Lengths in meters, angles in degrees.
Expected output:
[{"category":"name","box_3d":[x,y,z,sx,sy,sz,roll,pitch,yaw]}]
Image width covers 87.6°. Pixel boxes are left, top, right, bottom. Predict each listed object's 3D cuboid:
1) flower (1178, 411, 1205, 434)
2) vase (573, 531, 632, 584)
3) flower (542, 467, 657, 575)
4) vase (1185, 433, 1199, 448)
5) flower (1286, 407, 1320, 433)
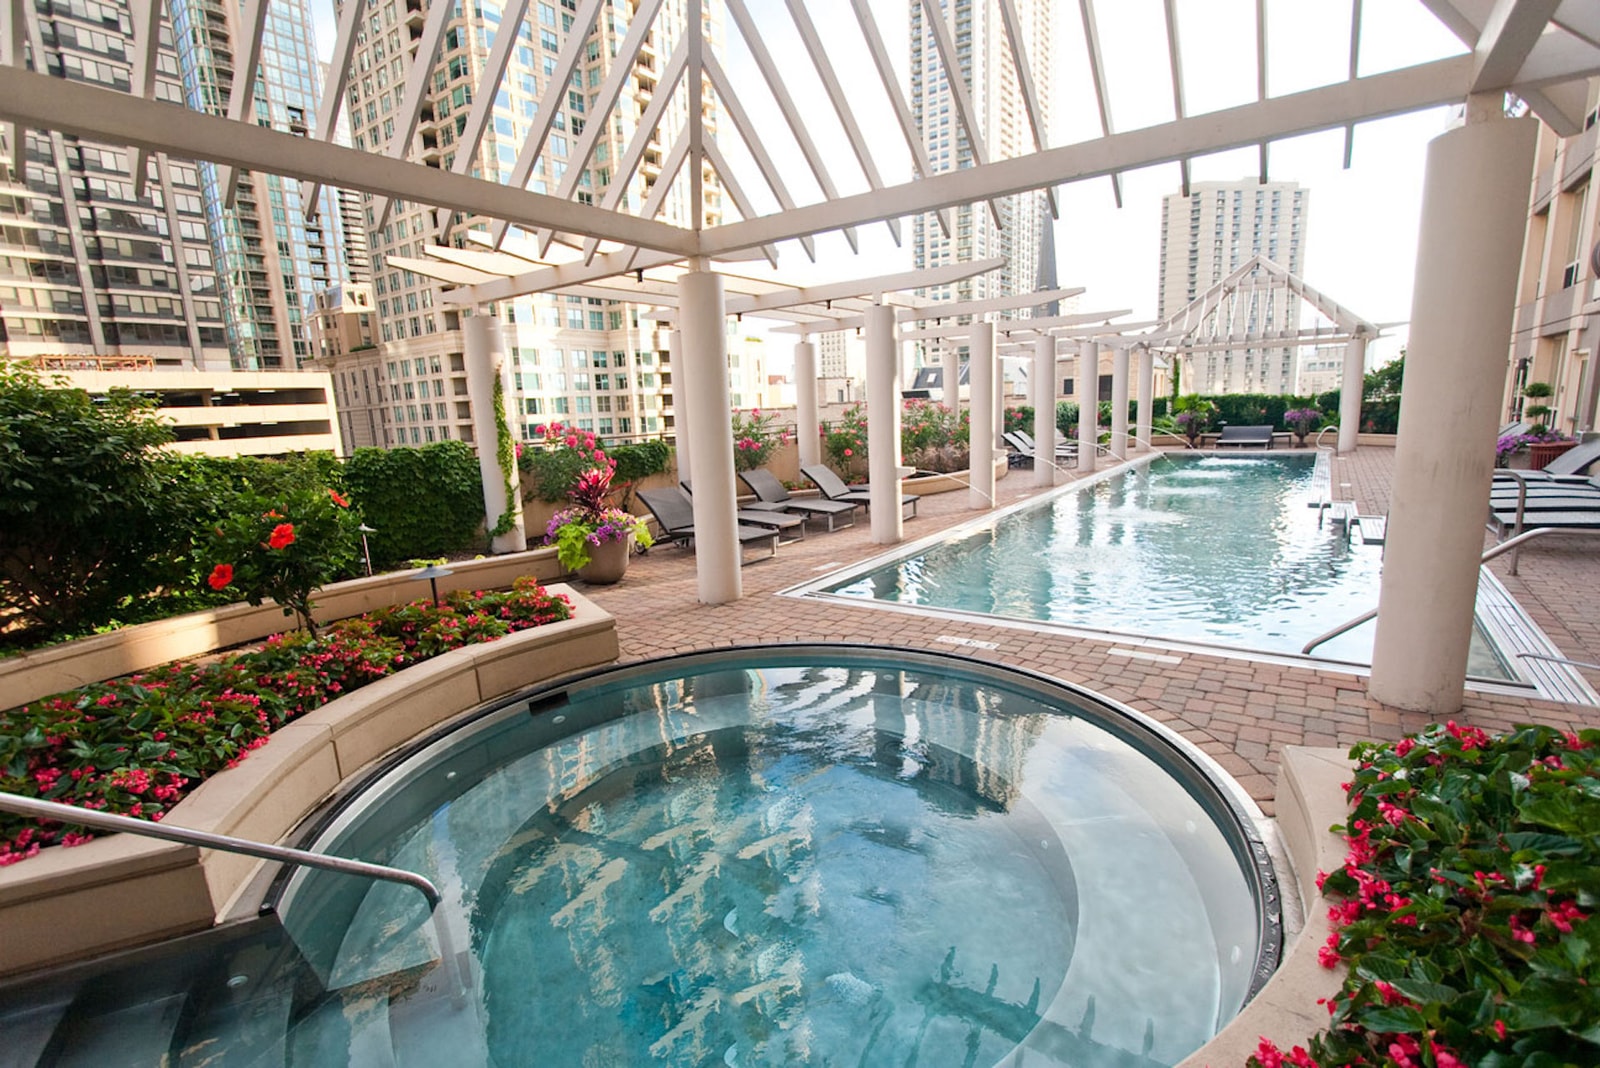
[{"category":"flower","box_3d":[12.572,-3.578,27.149,0.906,0.746,0.814,-2,9,3]},{"category":"vase","box_3d":[-2.537,0.322,10.831,0.729,0.444,0.669,2,0,-29]},{"category":"flower","box_3d":[-2.703,-0.084,10.809,0.986,1.454,0.569,-8,13,-24]},{"category":"vase","box_3d":[12.748,-3.102,27.367,0.381,0.362,0.535,1,11,22]},{"category":"flower","box_3d":[15.774,-3.585,26.509,0.938,0.779,0.730,-11,13,-36]}]
